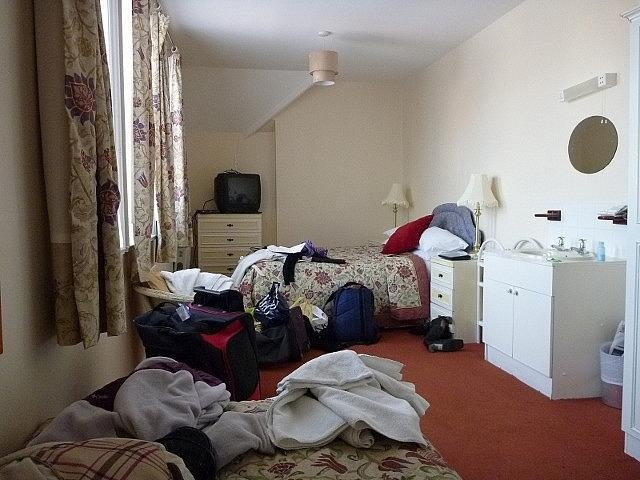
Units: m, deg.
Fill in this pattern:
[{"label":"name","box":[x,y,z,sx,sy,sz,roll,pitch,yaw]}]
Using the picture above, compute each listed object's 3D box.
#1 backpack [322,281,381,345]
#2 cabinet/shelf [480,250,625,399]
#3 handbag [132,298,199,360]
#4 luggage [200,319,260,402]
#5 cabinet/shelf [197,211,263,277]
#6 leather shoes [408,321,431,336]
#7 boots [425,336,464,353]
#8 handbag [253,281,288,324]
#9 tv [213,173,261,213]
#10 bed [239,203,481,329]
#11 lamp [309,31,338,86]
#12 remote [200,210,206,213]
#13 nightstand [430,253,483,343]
[{"label":"backpack","box":[0.264,0.659,4.063,0.370,0.518,0.513,-2,-33,5]},{"label":"cabinet/shelf","box":[1.509,0.466,3.498,0.738,1.089,1.071,0,1,-5]},{"label":"handbag","box":[-0.784,0.449,2.467,0.305,0.297,0.245,0,5,-8]},{"label":"luggage","box":[-0.429,0.615,2.461,0.173,0.423,0.347,5,10,30]},{"label":"cabinet/shelf","box":[-1.124,0.050,5.705,0.769,0.767,0.301,-1,3,-18]},{"label":"leather shoes","box":[0.901,0.780,4.304,0.133,0.057,0.169,-6,2,3]},{"label":"boots","box":[1.025,0.851,3.863,0.317,0.096,0.165,-3,9,-19]},{"label":"handbag","box":[-0.406,0.513,3.815,0.240,0.254,0.130,7,-13,39]},{"label":"tv","box":[-1.067,-0.557,6.180,0.516,0.534,0.526,1,-2,-18]},{"label":"bed","box":[0.173,0.287,4.525,1.766,0.879,1.238,0,1,-10]},{"label":"lamp","box":[0.023,-1.819,4.855,0.283,0.470,0.463,-3,9,-17]},{"label":"remote","box":[-1.512,-0.353,6.129,0.094,0.036,0.203,-3,9,-17]},{"label":"nightstand","box":[1.158,0.513,4.132,0.508,0.704,0.302,5,10,31]}]
